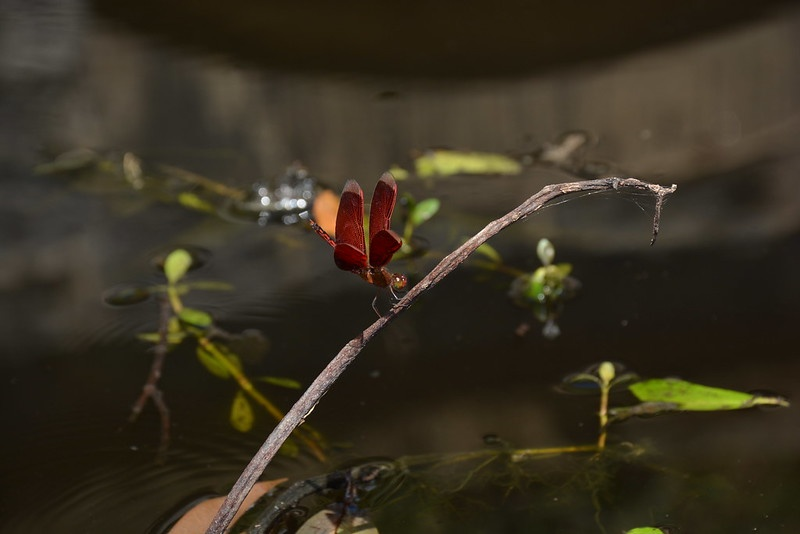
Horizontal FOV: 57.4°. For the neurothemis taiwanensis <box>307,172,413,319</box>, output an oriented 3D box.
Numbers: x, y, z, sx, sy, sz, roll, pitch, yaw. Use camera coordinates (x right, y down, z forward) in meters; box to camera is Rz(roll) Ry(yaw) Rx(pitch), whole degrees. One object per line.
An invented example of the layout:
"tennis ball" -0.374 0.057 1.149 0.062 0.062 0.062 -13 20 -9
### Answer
"neurothemis taiwanensis" -0.034 -0.023 0.686 0.074 0.118 0.113 -55 3 -24
